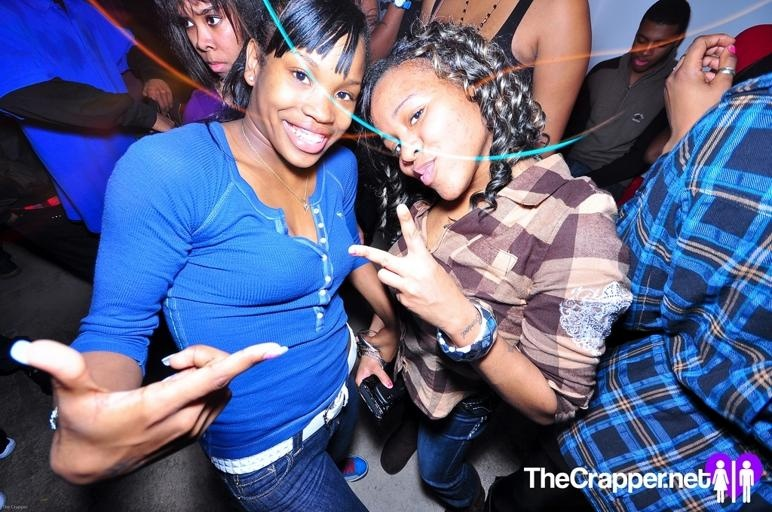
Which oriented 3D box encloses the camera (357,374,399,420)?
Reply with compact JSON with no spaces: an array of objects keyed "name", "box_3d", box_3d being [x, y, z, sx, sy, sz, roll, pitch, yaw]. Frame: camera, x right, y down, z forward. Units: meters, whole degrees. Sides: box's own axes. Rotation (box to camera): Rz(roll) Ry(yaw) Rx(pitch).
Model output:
[{"name":"camera","box_3d":[0.025,0.676,2.289,0.270,0.091,0.200,4,27,-42]}]
